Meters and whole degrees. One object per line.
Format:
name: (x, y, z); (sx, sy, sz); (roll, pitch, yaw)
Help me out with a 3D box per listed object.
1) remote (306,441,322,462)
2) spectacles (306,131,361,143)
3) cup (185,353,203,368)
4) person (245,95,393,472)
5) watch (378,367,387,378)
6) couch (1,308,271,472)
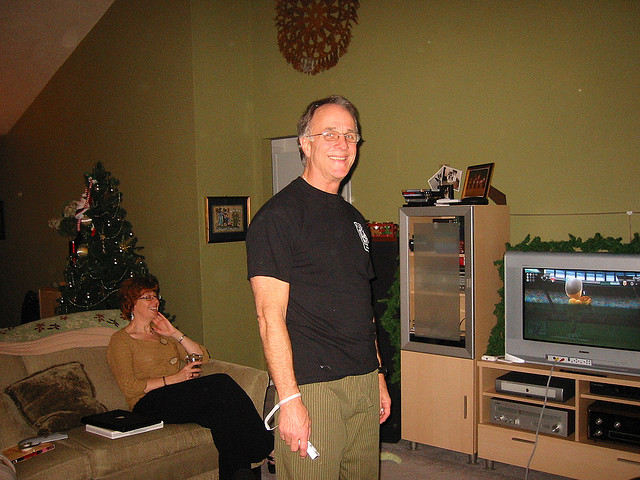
remote: (-0.019, 0.857, 2.106); (0.019, 0.073, 0.078); (-23, -25, -51)
spectacles: (0.060, -0.463, 2.304); (0.238, 0.048, 0.076); (1, 0, -6)
cup: (-0.920, 0.867, 3.759); (0.110, 0.097, 0.089); (-5, 7, -44)
person: (-0.015, 0.193, 2.253); (0.609, 1.704, 0.296); (0, 1, -43)
watch: (0.299, 0.633, 2.478); (0.057, 0.059, 0.019); (-2, 12, -6)
couch: (-1.460, 0.977, 3.296); (1.070, 0.904, 1.054); (1, 0, -42)
